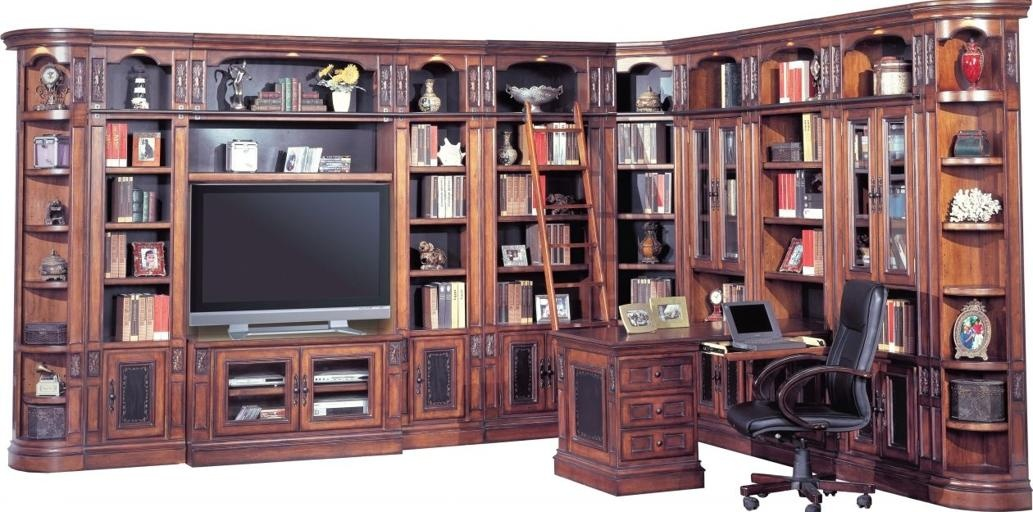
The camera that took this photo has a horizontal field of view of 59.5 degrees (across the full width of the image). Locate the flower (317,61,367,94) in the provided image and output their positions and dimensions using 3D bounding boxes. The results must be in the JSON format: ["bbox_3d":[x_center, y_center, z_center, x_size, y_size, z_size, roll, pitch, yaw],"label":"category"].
[{"bbox_3d":[-2.016,-2.030,10.260,0.491,0.375,0.272,-10,32,2],"label":"flower"}]

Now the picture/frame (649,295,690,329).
[{"bbox_3d":[1.601,0.601,9.529,0.430,0.265,0.036,-1,-9,-21],"label":"picture/frame"}]

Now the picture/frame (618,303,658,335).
[{"bbox_3d":[1.264,0.654,9.362,0.424,0.279,0.050,-1,-23,-26],"label":"picture/frame"}]

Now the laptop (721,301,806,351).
[{"bbox_3d":[2.403,0.699,8.942,0.664,0.312,0.585,-4,8,-23],"label":"laptop"}]

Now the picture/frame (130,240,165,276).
[{"bbox_3d":[-4.015,0.037,9.827,0.481,0.407,0.084,-2,1,-21],"label":"picture/frame"}]

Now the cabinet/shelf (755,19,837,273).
[{"bbox_3d":[3.094,-1.035,9.798,0.869,2.693,0.459,-7,-2,41],"label":"cabinet/shelf"}]

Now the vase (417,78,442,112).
[{"bbox_3d":[-1.005,-1.847,10.406,0.276,0.351,0.376,-5,-1,-5],"label":"vase"}]

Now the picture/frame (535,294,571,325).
[{"bbox_3d":[0.404,0.625,10.471,0.513,0.321,0.043,-1,-5,-3],"label":"picture/frame"}]

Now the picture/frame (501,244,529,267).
[{"bbox_3d":[-0.024,-0.004,10.573,0.343,0.232,0.068,4,-7,-13],"label":"picture/frame"}]

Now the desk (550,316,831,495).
[{"bbox_3d":[1.620,1.499,9.555,3.569,1.689,1.734,-1,1,-27],"label":"desk"}]

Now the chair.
[{"bbox_3d":[2.863,1.336,8.749,1.533,2.228,0.639,-6,-1,14],"label":"chair"}]

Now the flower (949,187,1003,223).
[{"bbox_3d":[4.413,-0.498,8.734,0.506,0.358,0.129,-4,-1,-7],"label":"flower"}]

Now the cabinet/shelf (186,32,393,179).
[{"bbox_3d":[-2.610,-1.678,10.005,3.123,1.891,0.886,0,1,-15],"label":"cabinet/shelf"}]

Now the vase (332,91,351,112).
[{"bbox_3d":[-1.983,-1.734,10.202,0.283,0.233,0.249,0,-1,-25],"label":"vase"}]

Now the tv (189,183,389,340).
[{"bbox_3d":[-2.634,0.029,10.093,2.393,1.276,0.598,0,4,-9],"label":"tv"}]
